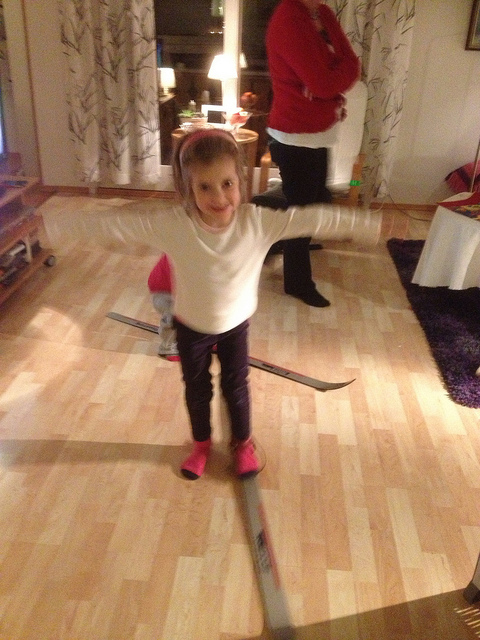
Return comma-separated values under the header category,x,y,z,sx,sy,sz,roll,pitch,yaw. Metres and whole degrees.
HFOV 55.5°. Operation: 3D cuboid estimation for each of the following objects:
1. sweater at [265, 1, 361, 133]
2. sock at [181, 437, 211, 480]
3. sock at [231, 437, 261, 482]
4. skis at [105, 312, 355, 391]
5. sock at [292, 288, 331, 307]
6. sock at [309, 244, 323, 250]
category,x,y,z,sx,sy,sz,roll,pitch,yaw
sweater,0.315,-1.072,1.964,0.410,0.500,0.307,2,29,-2
sock,-0.139,0.435,1.420,0.053,0.055,0.147,8,10,3
sock,0.016,0.431,1.438,0.061,0.064,0.168,-5,18,-4
skis,-0.060,0.134,1.768,0.808,0.077,0.068,18,58,16
sock,0.380,-0.124,2.550,0.221,0.084,0.072,11,30,29
sock,0.526,-0.507,3.166,0.115,0.025,0.052,-8,29,-19
